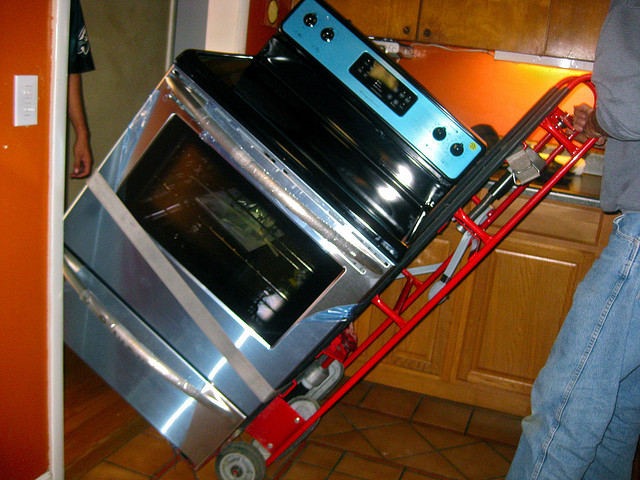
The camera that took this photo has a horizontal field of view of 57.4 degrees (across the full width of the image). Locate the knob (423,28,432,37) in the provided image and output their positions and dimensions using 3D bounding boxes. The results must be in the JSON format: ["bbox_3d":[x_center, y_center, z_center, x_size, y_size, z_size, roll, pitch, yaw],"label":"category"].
[{"bbox_3d":[0.555,-1.054,2.991,0.041,0.043,0.012,2,1,9],"label":"knob"}]

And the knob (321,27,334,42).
[{"bbox_3d":[0.024,-0.640,1.833,0.031,0.041,0.032,-21,16,-32],"label":"knob"}]

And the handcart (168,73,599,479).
[{"bbox_3d":[0.224,0.166,2.098,1.986,0.484,0.482,-44,-12,13],"label":"handcart"}]
